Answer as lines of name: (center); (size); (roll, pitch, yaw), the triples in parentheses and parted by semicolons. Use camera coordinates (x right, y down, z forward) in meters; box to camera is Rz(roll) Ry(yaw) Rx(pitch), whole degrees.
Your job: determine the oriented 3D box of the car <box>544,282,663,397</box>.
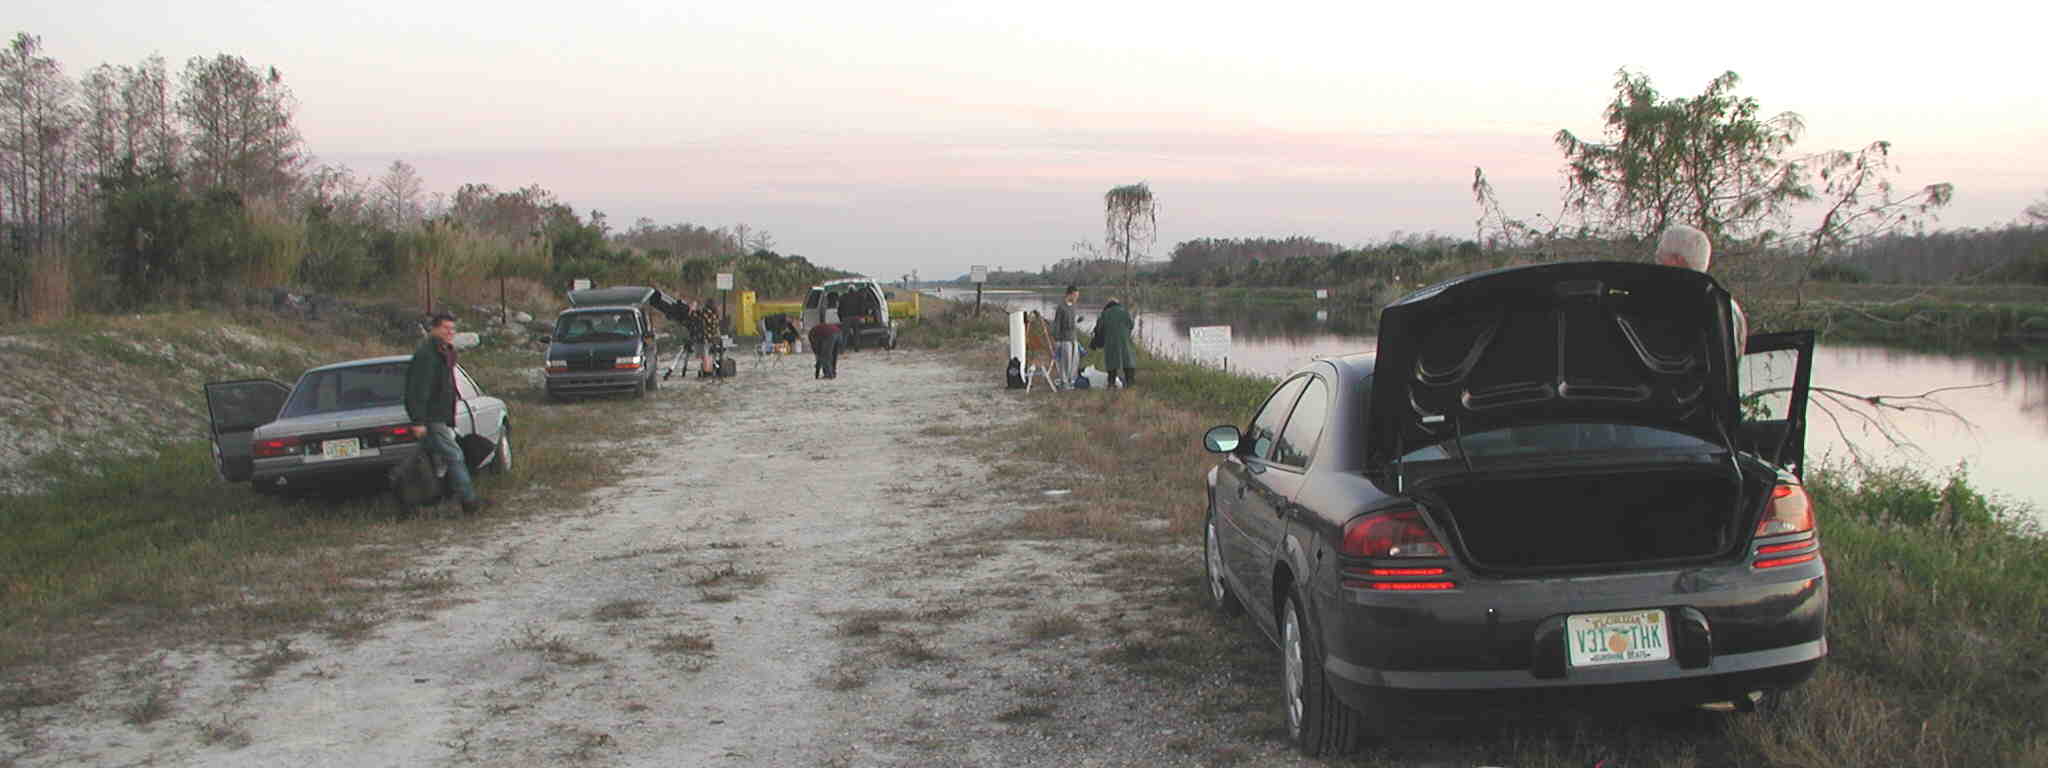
car: (-16.648, -1.424, 54.462); (3.521, 2.793, 5.528); (-2, 0, -3)
